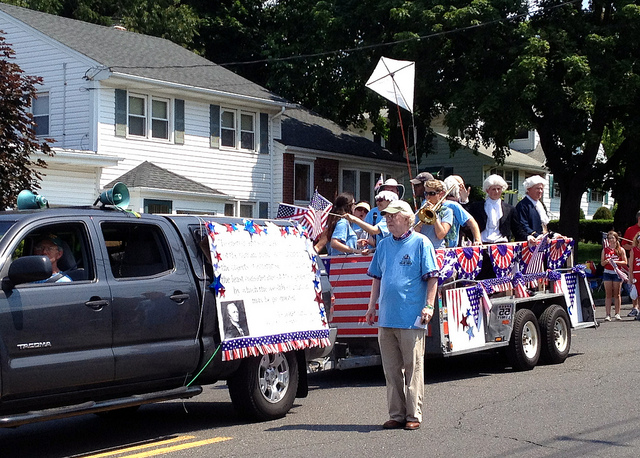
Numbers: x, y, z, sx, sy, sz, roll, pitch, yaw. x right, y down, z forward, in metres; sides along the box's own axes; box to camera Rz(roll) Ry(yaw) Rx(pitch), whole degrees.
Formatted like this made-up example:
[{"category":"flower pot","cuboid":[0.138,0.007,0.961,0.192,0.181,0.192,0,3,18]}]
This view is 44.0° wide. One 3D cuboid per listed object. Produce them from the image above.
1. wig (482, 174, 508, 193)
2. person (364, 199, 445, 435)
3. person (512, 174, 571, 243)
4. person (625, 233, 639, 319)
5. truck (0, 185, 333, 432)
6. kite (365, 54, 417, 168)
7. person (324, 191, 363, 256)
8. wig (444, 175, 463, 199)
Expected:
[{"category":"wig","cuboid":[2.952,-0.807,13.346,0.368,0.338,0.434,2,7,14]},{"category":"person","cuboid":[1.081,1.014,10.167,0.970,2.806,1.575,-1,1,8]},{"category":"person","cuboid":[3.577,-0.351,13.366,0.784,1.080,0.427,-2,1,-28]},{"category":"person","cuboid":[7.330,1.059,18.544,0.248,1.931,0.672,-1,1,20]},{"category":"truck","cuboid":[-1.884,0.946,9.834,2.411,1.775,4.159,-3,-6,44]},{"category":"kite","cuboid":[1.496,-2.629,16.338,0.940,2.266,2.912,-1,1,6]},{"category":"person","cuboid":[0.507,-0.101,12.505,0.633,0.893,0.578,-25,33,-37]},{"category":"wig","cuboid":[2.115,-0.696,12.547,0.290,0.387,0.342,-3,-4,5]}]
